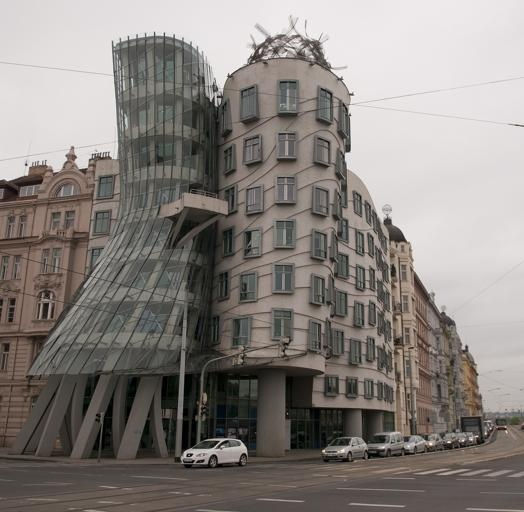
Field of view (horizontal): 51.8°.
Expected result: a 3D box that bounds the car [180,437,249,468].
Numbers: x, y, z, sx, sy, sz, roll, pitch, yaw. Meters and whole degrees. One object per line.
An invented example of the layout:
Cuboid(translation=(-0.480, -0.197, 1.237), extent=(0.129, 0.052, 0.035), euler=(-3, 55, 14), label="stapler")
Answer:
Cuboid(translation=(-2.215, 9.620, 26.362), extent=(1.446, 1.053, 3.068), euler=(-14, -27, 34), label="car")

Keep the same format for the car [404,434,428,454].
Cuboid(translation=(12.067, 15.072, 42.945), extent=(1.353, 1.008, 3.116), euler=(-13, -30, 25), label="car")

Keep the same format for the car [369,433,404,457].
Cuboid(translation=(8.606, 13.398, 38.454), extent=(1.727, 1.381, 3.036), euler=(-12, -28, 29), label="car")

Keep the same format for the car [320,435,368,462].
Cuboid(translation=(5.154, 11.927, 33.407), extent=(1.428, 1.056, 2.642), euler=(-14, -30, 26), label="car")
